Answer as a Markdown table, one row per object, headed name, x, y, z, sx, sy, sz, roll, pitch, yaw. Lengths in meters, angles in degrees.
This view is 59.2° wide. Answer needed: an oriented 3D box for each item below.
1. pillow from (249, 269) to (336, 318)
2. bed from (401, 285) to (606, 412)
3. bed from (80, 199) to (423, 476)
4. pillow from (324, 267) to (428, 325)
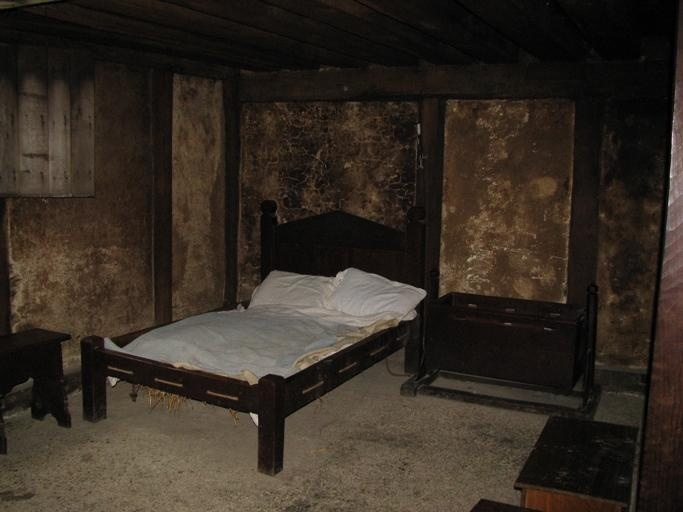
| name | x | y | z | sx | sy | sz | roll | pitch | yaw |
| --- | --- | --- | --- | --- | --- | --- | --- | --- | --- |
| pillow | -0.467 | 0.341 | 5.683 | 0.537 | 0.154 | 0.444 | 7 | 37 | 22 |
| bed | 1.380 | 0.677 | 5.069 | 1.490 | 1.014 | 0.911 | 4 | 7 | 26 |
| bed | -0.579 | 0.439 | 5.052 | 1.988 | 1.661 | 2.692 | 4 | 9 | 21 |
| pillow | 0.275 | 0.361 | 5.387 | 0.553 | 0.174 | 0.544 | 10 | 18 | 34 |
